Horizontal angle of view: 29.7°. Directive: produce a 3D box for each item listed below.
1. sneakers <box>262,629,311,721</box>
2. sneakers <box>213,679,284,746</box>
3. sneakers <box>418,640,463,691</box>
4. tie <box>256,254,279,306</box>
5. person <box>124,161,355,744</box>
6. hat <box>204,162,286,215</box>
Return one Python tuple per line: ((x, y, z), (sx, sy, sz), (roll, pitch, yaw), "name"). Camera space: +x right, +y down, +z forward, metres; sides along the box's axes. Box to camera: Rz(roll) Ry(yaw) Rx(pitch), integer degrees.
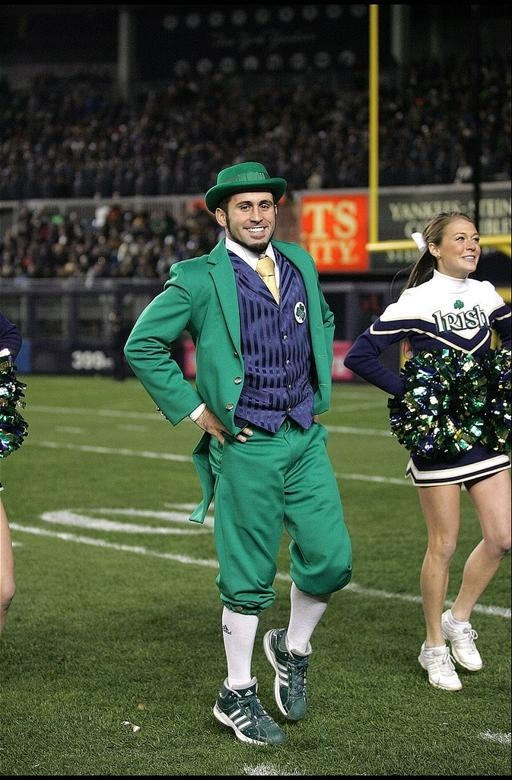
((0.086, 0.789, 2.733), (0.095, 0.255, 0.123), (0, -31, -40), "sneakers")
((-0.033, 0.846, 2.598), (0.096, 0.105, 0.234), (-15, 27, -38), "sneakers")
((0.567, 0.847, 2.978), (0.072, 0.071, 0.168), (-8, 19, -16), "sneakers")
((0.026, -0.309, 2.666), (0.050, 0.151, 0.012), (-14, -24, -20), "tie")
((0.027, 0.138, 2.662), (0.574, 1.514, 0.434), (-13, 14, -40), "person")
((-0.034, -0.571, 2.660), (0.218, 0.142, 0.279), (-4, 10, -2), "hat")
